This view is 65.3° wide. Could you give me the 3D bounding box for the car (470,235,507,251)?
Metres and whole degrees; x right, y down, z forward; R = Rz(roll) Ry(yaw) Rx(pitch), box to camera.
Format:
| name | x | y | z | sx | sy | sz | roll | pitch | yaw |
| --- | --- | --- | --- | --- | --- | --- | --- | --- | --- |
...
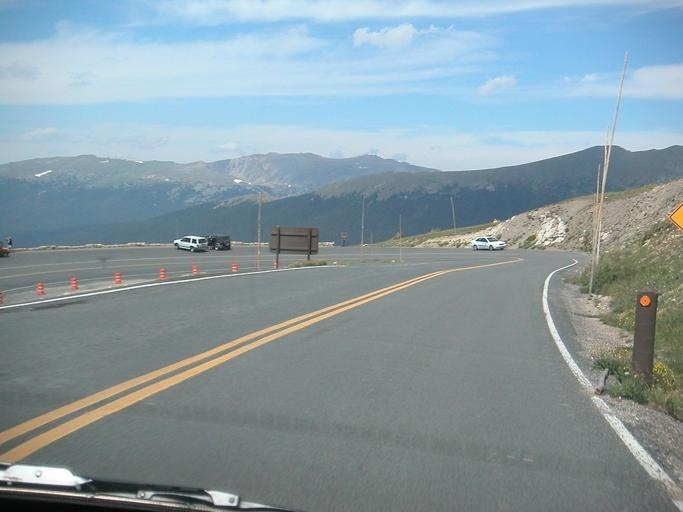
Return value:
| name | x | y | z | sx | sy | sz | roll | pitch | yaw |
| --- | --- | --- | --- | --- | --- | --- | --- | --- | --- |
| car | 18.884 | -1.469 | 68.635 | 3.630 | 1.437 | 4.264 | 2 | 7 | 8 |
